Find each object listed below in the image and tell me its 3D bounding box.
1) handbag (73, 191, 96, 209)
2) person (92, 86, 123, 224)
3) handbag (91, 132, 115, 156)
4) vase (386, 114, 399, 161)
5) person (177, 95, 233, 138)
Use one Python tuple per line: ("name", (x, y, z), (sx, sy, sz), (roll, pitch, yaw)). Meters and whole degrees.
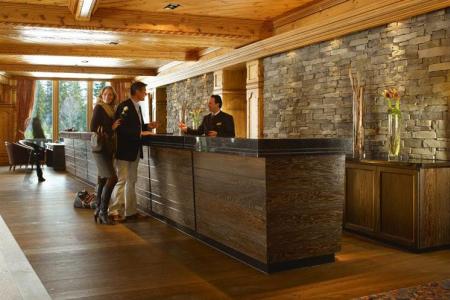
("handbag", (-2.798, 0.986, 6.349), (0.374, 0.191, 0.347), (0, 3, -11))
("person", (-1.961, 0.083, 5.227), (0.400, 2.235, 0.487), (-1, 4, -19))
("handbag", (-1.949, -0.112, 5.082), (0.368, 0.343, 0.196), (-1, 4, -13))
("vase", (2.378, -0.199, 4.510), (0.162, 0.617, 0.170), (2, 4, 23))
("person", (-0.250, -0.661, 6.165), (0.952, 0.782, 0.379), (2, 5, 32))
